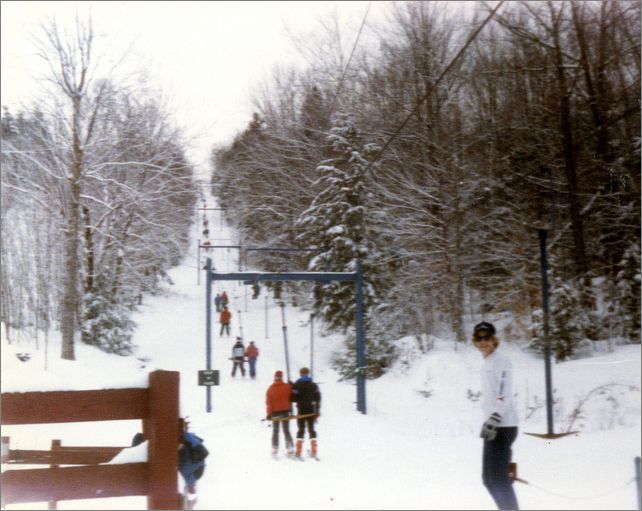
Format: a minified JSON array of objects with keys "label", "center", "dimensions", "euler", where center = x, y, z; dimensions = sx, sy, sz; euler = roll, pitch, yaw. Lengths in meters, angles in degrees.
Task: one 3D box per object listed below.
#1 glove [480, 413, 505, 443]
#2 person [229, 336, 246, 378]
[{"label":"glove","center":[4.577,4.577,30.467],"dimensions":[0.501,0.760,0.697],"euler":[24,8,38]},{"label":"person","center":[-3.418,4.169,46.000],"dimensions":[0.625,1.676,1.567],"euler":[-4,10,-4]}]
